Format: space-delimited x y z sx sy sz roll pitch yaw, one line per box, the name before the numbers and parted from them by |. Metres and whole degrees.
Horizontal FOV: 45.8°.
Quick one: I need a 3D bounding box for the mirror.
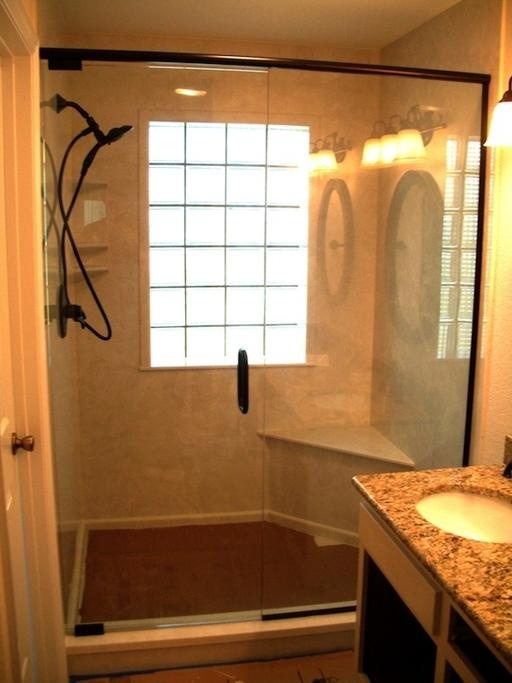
mirror | 0.421 -0.320 2.130 0.435 0.793 0.053 -1 6 -8
